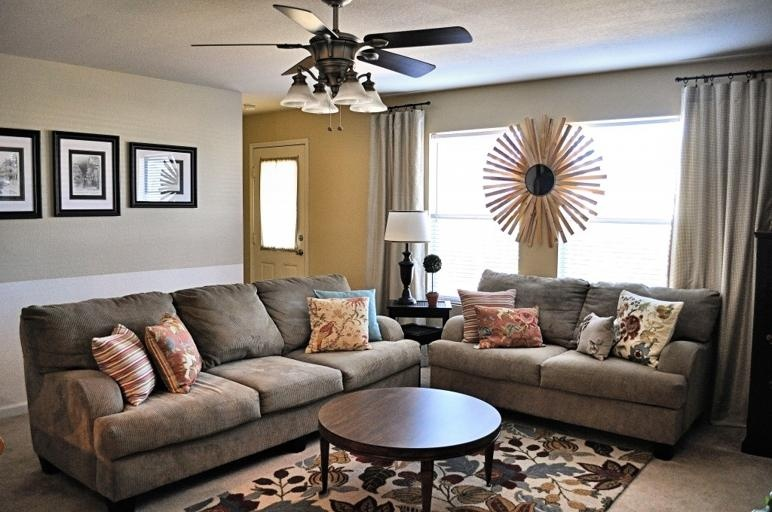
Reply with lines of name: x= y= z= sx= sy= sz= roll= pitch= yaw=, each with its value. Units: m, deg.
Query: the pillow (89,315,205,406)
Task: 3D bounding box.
pillow: x=-1.690 y=0.740 z=4.154 sx=0.710 sy=0.513 sz=0.504 roll=-3 pitch=7 yaw=-31

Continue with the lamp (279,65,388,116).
lamp: x=-0.368 y=-1.123 z=4.077 sx=0.548 sy=0.192 sz=0.554 roll=6 pitch=7 yaw=40

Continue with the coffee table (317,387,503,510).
coffee table: x=0.211 y=1.148 z=3.990 sx=0.902 sy=0.387 sz=0.898 roll=2 pitch=3 yaw=33

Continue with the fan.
fan: x=-0.237 y=-1.318 z=3.961 sx=1.323 sy=0.532 sz=1.150 roll=2 pitch=-1 yaw=3

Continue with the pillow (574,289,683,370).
pillow: x=2.073 y=0.628 z=4.828 sx=0.210 sy=0.622 sz=0.672 roll=31 pitch=-12 yaw=-35

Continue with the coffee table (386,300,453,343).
coffee table: x=0.344 y=0.658 z=6.249 sx=0.572 sy=0.487 sz=0.534 roll=1 pitch=0 yaw=-20

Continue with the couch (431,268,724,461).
couch: x=1.935 y=0.980 z=5.187 sx=2.564 sy=1.195 sz=1.415 roll=1 pitch=3 yaw=35
